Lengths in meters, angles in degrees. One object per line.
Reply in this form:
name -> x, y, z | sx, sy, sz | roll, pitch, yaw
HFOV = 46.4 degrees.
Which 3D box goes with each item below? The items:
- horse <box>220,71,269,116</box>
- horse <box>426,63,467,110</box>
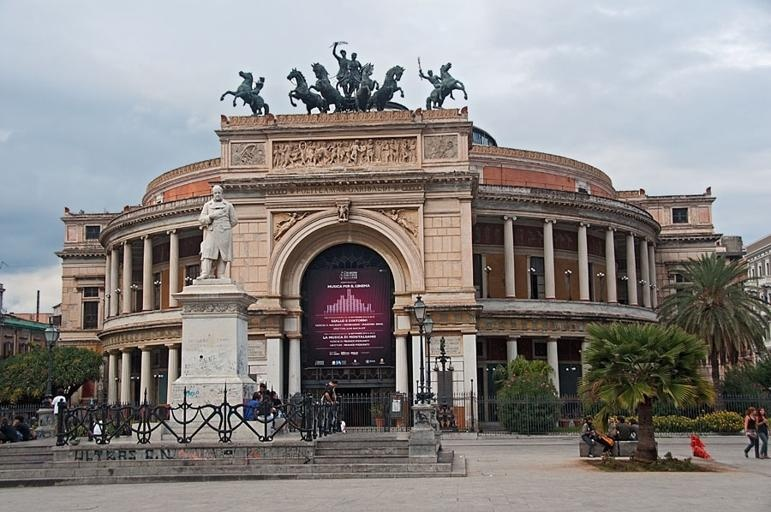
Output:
horse -> -9.828, -11.780, 64.933 | 3.801, 3.009, 1.032 | 13, -9, -32
horse -> 4.336, -12.414, 64.073 | 1.934, 3.977, 3.181 | 1, -13, -11
